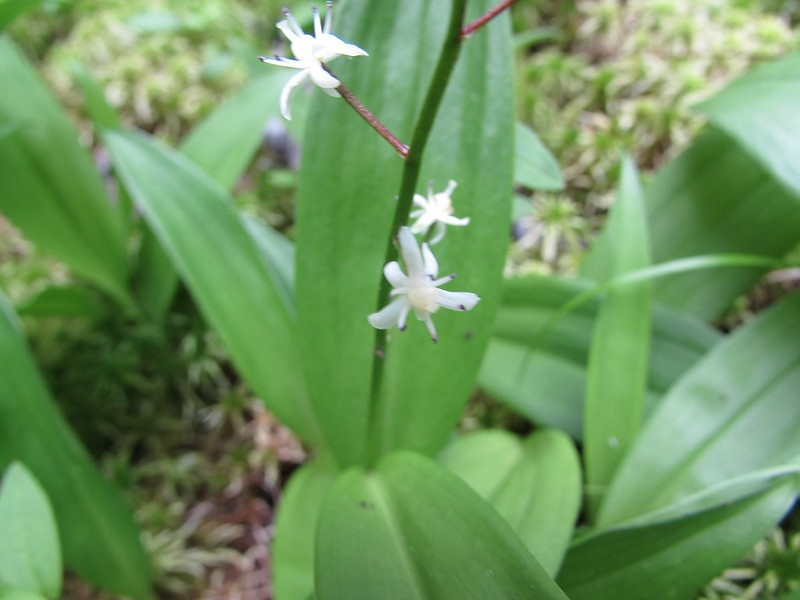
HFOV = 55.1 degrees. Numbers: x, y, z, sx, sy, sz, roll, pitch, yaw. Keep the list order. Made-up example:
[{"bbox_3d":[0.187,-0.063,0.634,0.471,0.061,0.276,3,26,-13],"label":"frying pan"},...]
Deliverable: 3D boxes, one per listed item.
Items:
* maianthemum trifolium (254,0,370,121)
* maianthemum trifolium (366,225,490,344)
[{"bbox_3d":[-0.143,-0.397,1.324,0.191,0.077,0.202,-30,88,-8],"label":"maianthemum trifolium"},{"bbox_3d":[0.052,-0.033,1.297,0.122,0.064,0.138,0,25,-45],"label":"maianthemum trifolium"}]
